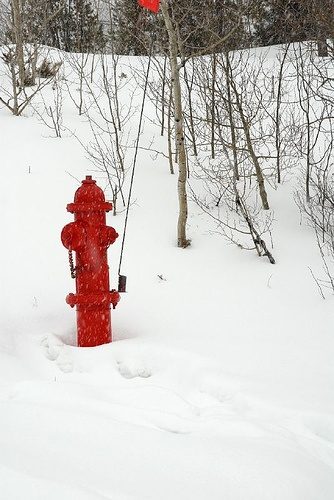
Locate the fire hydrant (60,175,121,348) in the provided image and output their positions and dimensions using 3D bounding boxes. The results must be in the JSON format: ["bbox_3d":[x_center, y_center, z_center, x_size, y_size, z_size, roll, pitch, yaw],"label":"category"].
[{"bbox_3d":[-0.570,0.106,4.627,0.441,1.285,0.501,1,14,-7],"label":"fire hydrant"}]
